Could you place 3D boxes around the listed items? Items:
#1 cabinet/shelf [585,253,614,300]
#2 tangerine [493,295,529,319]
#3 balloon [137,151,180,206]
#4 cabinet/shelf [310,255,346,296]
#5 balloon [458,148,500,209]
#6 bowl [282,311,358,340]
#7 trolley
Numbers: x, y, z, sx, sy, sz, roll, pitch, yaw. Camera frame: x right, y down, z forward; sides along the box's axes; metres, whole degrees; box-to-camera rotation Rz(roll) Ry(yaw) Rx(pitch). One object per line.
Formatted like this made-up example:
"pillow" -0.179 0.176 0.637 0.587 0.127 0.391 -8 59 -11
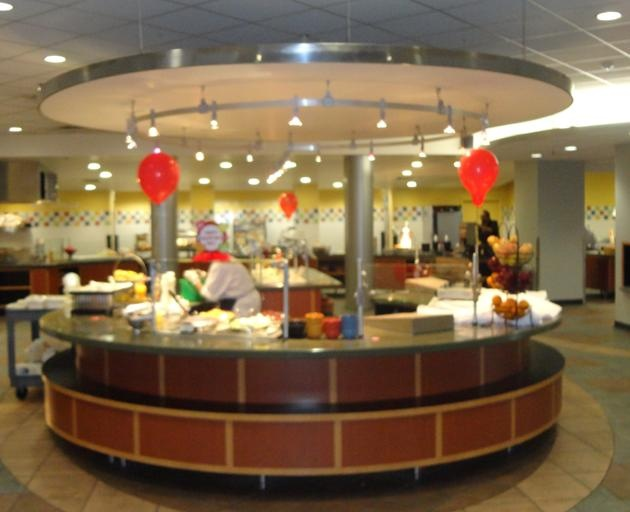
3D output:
"cabinet/shelf" 6.288 0.430 12.844 0.487 0.676 0.939 -1 4 -2
"tangerine" 1.493 0.384 4.522 0.186 0.136 0.211 1 -2 7
"balloon" -1.299 -0.643 4.830 0.362 0.473 0.372 1 -10 -16
"cabinet/shelf" 0.240 0.359 11.177 0.919 0.923 0.305 -1 -3 -9
"balloon" 1.375 -0.673 4.935 0.295 0.506 0.439 1 5 14
"bowl" 0.079 0.466 4.160 0.344 0.145 0.226 2 -1 10
"trolley" -2.719 0.903 5.708 0.591 1.007 1.050 1 3 -5
